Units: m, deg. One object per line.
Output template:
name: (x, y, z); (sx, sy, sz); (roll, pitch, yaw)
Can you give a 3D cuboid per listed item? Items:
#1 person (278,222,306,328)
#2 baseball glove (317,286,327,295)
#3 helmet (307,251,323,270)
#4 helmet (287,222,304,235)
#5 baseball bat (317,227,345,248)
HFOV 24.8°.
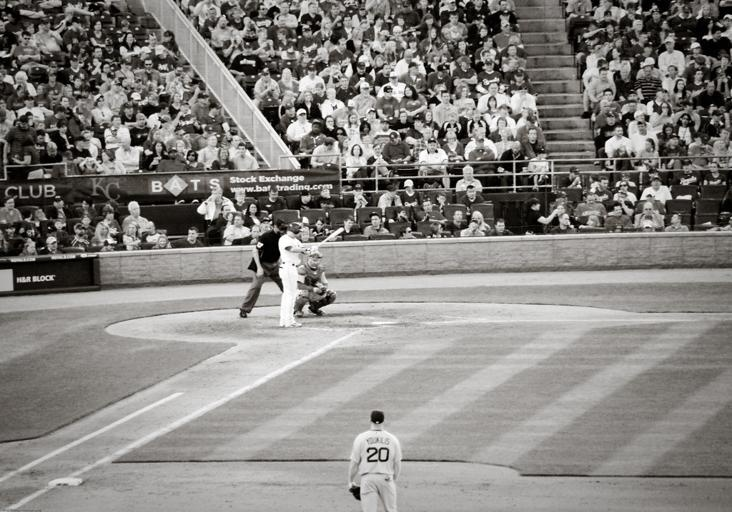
person: (-1.949, 0.512, 43.905); (0.832, 2.747, 1.128); (-5, 6, -2)
baseball glove: (-1.152, 0.946, 44.429); (0.305, 0.278, 0.434); (-3, 5, 3)
helmet: (-1.321, 0.137, 44.370); (0.436, 0.392, 0.498); (4, 3, -4)
helmet: (-1.802, -0.683, 43.621); (0.383, 0.228, 0.348); (-10, 19, -15)
baseball bat: (-1.033, -0.529, 49.116); (1.112, 0.123, 0.200); (-35, 49, -26)
